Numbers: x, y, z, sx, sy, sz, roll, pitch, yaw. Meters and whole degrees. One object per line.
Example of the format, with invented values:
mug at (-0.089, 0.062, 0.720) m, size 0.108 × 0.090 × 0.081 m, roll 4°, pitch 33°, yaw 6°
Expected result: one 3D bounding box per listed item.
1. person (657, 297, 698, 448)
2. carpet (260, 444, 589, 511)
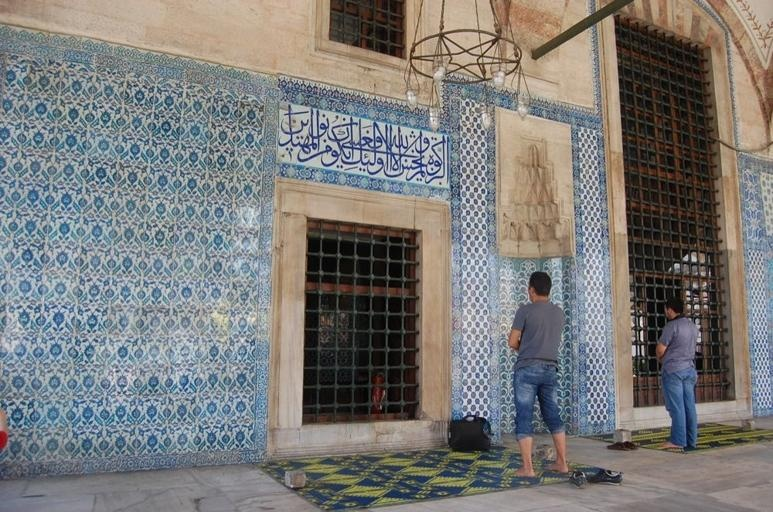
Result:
person at (3.599, 1.437, 8.443) m, size 0.454 × 1.828 × 0.543 m, roll 1°, pitch 1°, yaw 29°
carpet at (0.245, 2.299, 7.259) m, size 2.916 × 0.073 × 1.723 m, roll 1°, pitch 0°, yaw -19°
